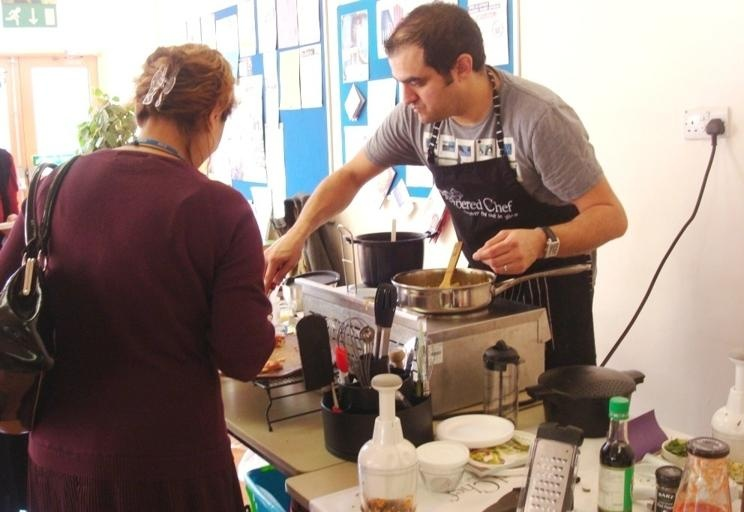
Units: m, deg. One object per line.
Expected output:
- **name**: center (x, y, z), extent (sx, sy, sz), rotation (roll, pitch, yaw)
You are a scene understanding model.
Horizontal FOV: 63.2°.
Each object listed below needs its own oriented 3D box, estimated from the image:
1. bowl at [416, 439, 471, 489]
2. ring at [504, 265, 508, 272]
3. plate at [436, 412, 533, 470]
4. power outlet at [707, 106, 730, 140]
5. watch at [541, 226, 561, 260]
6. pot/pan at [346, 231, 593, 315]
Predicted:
- **bowl**: center (0.173, 0.509, 1.474), extent (0.107, 0.074, 0.108), rotation (0, 3, 0)
- **ring**: center (0.414, 0.037, 1.891), extent (0.005, 0.015, 0.015), rotation (0, 23, -8)
- **plate**: center (0.304, 0.485, 1.597), extent (0.132, 0.020, 0.149), rotation (-10, 19, -25)
- **power outlet**: center (1.383, -0.545, 2.470), extent (0.117, 0.127, 0.099), rotation (2, 9, 11)
- **watch**: center (0.566, -0.041, 1.951), extent (0.053, 0.093, 0.093), rotation (0, 40, -3)
- **pot/pan**: center (0.284, 0.053, 1.954), extent (0.649, 0.229, 0.502), rotation (-2, 6, -13)
